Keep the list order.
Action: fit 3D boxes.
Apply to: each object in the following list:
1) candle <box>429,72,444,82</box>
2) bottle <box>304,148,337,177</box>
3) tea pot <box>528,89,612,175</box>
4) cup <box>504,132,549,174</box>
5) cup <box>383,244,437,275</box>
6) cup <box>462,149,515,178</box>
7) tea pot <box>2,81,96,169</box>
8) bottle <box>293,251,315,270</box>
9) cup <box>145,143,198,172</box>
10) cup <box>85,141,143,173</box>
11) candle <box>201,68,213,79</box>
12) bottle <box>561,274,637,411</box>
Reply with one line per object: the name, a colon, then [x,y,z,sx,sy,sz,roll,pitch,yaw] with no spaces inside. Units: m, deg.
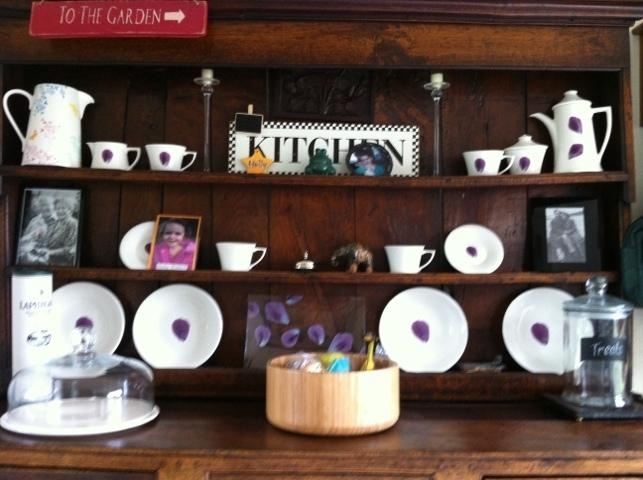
candle: [0.417,-0.588,2.509,0.036,0.037,0.037,0,-13,2]
bottle: [-0.004,-0.281,2.515,0.094,0.098,0.097,0,5,-11]
tea pot: [0.919,-0.398,2.535,0.283,0.311,0.212,-1,3,10]
cup: [0.762,-0.318,2.578,0.140,0.133,0.144,-1,4,0]
cup: [0.330,0.073,2.541,0.146,0.072,0.109,0,-5,4]
cup: [0.623,-0.284,2.538,0.222,0.103,0.126,-3,3,-31]
tea pot: [-0.940,-0.381,2.540,0.387,0.396,0.257,2,-7,-18]
bottle: [-0.065,0.076,2.584,0.063,0.070,0.065,2,3,16]
cup: [-0.540,-0.299,2.544,0.146,0.101,0.188,0,3,18]
cup: [-0.762,-0.296,2.533,0.175,0.096,0.123,2,-1,-9]
candle: [-0.418,-0.607,2.521,0.041,0.034,0.042,-5,-8,35]
bottle: [0.944,0.346,2.370,0.222,0.442,0.106,0,2,20]
